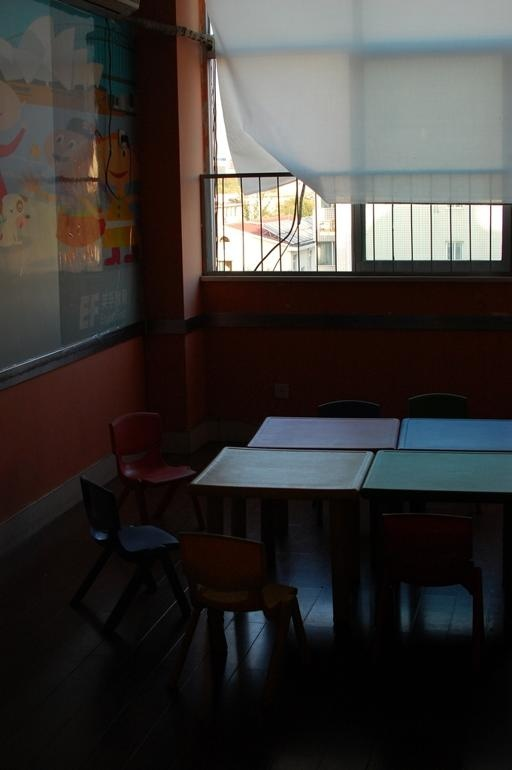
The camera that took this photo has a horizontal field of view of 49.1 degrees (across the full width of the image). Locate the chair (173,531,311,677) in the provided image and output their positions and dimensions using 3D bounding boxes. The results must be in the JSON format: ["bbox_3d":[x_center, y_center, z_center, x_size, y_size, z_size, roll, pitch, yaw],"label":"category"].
[{"bbox_3d":[-0.054,0.716,1.937,0.351,0.476,0.418,-1,0,19],"label":"chair"}]

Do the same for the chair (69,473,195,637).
[{"bbox_3d":[-0.572,0.760,2.637,0.402,0.648,0.436,8,7,41],"label":"chair"}]

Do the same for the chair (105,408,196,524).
[{"bbox_3d":[-0.703,0.592,3.678,0.435,0.774,0.439,4,7,36],"label":"chair"}]
